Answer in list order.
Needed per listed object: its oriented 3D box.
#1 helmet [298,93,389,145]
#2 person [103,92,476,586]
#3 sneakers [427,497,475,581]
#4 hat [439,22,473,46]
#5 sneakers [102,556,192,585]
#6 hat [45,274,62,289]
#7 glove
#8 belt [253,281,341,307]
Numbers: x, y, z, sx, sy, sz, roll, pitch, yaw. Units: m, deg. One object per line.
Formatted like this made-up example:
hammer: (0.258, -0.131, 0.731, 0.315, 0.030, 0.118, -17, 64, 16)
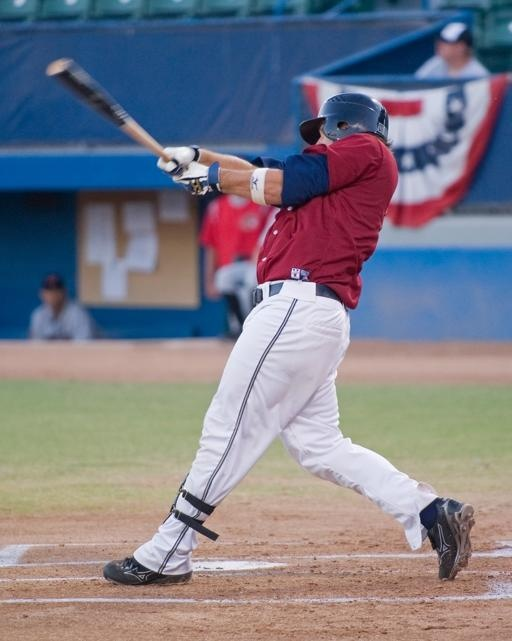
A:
helmet: (0.310, -0.670, 3.856, 0.300, 0.129, 0.170, 5, 1, 0)
person: (0.093, 0.038, 3.844, 1.560, 1.624, 0.619, 3, -8, -23)
sneakers: (0.627, 0.700, 3.690, 0.194, 0.278, 0.103, 0, 29, 7)
hat: (1.689, -2.428, 9.801, 0.235, 0.211, 0.301, -1, 7, -10)
sneakers: (-0.330, 0.805, 3.733, 0.305, 0.092, 0.092, 6, -3, -2)
hat: (-0.785, -0.146, 4.475, 0.072, 0.042, 0.058, -3, 36, -10)
glove: (-0.196, -0.502, 3.854, 0.232, 0.143, 0.083, 33, -17, 17)
belt: (0.126, -0.069, 3.656, 0.173, 0.035, 0.114, 5, -8, -24)
